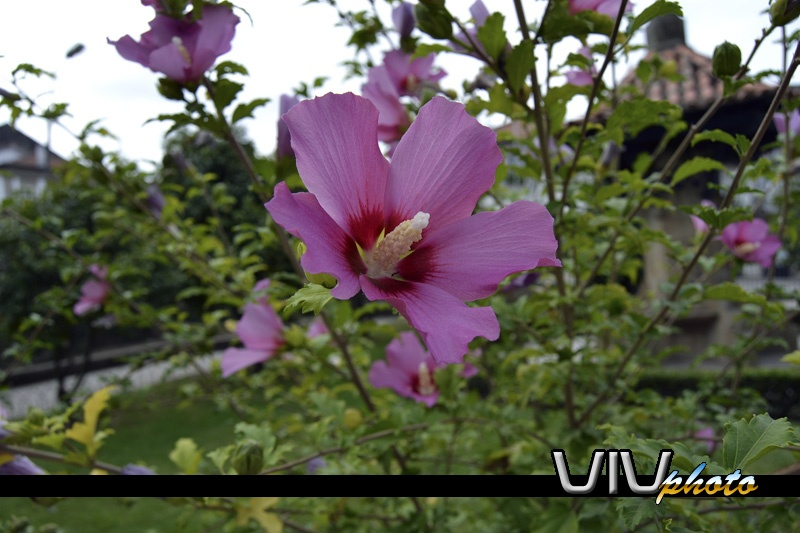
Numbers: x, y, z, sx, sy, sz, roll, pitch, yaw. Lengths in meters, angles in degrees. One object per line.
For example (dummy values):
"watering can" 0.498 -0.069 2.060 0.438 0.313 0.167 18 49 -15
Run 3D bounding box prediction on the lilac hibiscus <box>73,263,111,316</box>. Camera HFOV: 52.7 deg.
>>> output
"lilac hibiscus" -0.823 0.061 2.171 0.086 0.132 0.038 35 -11 -3

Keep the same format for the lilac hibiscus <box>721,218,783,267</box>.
"lilac hibiscus" 0.966 -0.064 2.241 0.191 0.068 0.162 -16 -35 42

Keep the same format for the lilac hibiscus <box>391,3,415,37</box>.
"lilac hibiscus" 0.017 -0.785 2.552 0.064 0.109 0.136 -7 12 -24

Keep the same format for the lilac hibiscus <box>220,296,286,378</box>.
"lilac hibiscus" -0.449 0.206 2.204 0.205 0.067 0.203 22 0 -18

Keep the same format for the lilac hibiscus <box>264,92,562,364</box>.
"lilac hibiscus" 0.069 -0.136 2.147 0.842 0.368 0.874 6 -19 13
